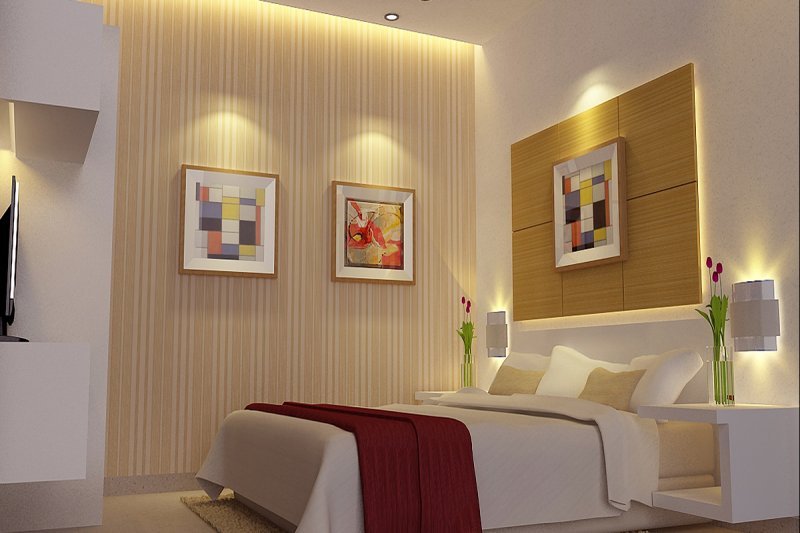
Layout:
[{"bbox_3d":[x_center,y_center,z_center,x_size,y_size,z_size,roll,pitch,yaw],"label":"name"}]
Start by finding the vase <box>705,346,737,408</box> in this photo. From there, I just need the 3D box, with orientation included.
[{"bbox_3d":[1.966,0.664,3.534,0.144,0.347,0.175,0,-5,29],"label":"vase"}]

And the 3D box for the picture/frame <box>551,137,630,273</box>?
[{"bbox_3d":[1.637,-0.494,4.866,0.143,1.390,0.990,7,-11,-29],"label":"picture/frame"}]

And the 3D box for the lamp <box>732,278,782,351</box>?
[{"bbox_3d":[2.291,0.314,3.739,0.289,0.461,0.190,-1,-6,42],"label":"lamp"}]

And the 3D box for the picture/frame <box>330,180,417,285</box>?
[{"bbox_3d":[-0.310,-0.315,5.876,1.025,1.187,0.089,1,-3,-21],"label":"picture/frame"}]

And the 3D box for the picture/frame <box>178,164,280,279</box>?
[{"bbox_3d":[-1.636,-0.385,5.364,0.985,1.123,0.076,4,-8,-25],"label":"picture/frame"}]
